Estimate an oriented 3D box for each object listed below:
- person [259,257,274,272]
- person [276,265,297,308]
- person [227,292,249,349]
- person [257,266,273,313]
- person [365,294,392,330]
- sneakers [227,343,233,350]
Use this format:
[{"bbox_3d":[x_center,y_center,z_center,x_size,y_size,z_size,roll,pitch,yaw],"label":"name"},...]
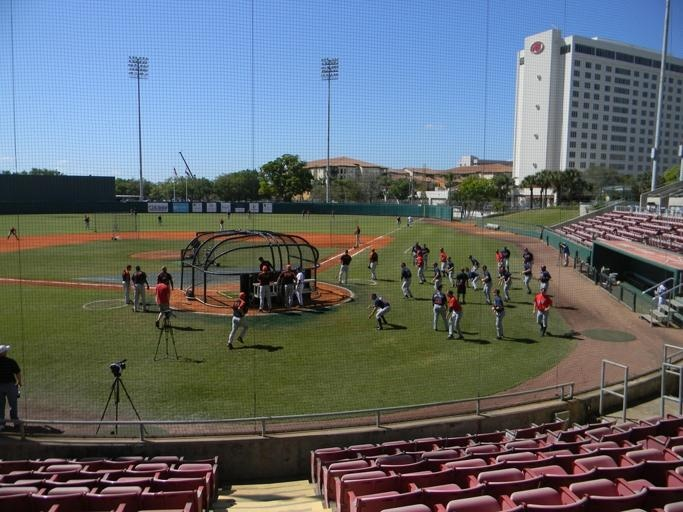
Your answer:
[{"bbox_3d":[-2.722,0.317,30.569,0.745,0.477,1.416,0,-11,-6],"label":"person"},{"bbox_3d":[-1.891,1.016,29.247,0.612,1.480,1.008,-2,7,-4],"label":"person"},{"bbox_3d":[-3.140,1.836,25.424,0.598,1.525,2.006,-3,7,-7],"label":"person"},{"bbox_3d":[-2.606,1.019,28.946,0.446,1.607,0.799,-3,7,-6],"label":"person"},{"bbox_3d":[1.189,1.715,27.051,0.727,1.104,0.733,-11,9,-6],"label":"person"},{"bbox_3d":[-3.247,2.645,24.750,0.178,0.178,0.108,-1,6,-17],"label":"sneakers"}]
